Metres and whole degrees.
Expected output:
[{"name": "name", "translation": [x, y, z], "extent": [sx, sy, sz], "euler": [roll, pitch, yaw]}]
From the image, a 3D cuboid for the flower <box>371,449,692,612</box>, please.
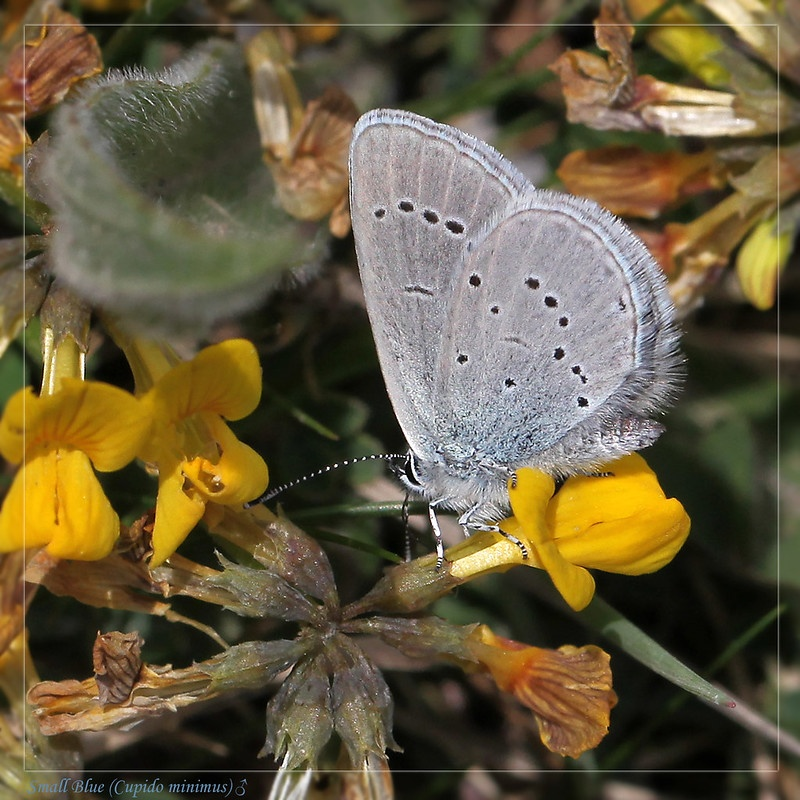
[{"name": "flower", "translation": [0.297, 0.294, 2.073], "extent": [0.513, 0.190, 0.352], "euler": [-14, 62, -1]}]
